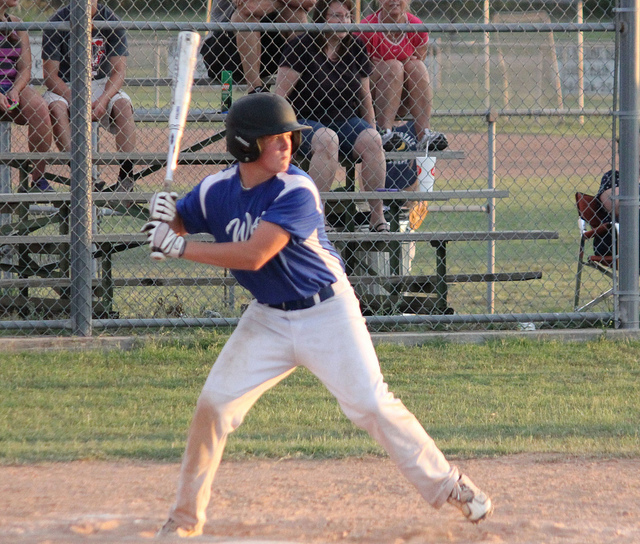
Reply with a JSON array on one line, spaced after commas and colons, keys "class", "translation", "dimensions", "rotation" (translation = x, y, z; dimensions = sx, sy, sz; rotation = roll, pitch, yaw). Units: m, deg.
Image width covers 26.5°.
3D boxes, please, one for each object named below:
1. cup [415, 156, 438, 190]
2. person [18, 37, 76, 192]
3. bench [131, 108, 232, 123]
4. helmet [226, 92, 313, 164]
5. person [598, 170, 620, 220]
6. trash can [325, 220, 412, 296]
[{"class": "cup", "translation": [0.866, -0.828, 11.246], "dimensions": [0.229, 0.338, 0.243], "rotation": [0, 1, 0]}, {"class": "person", "translation": [-2.173, -1.270, 10.875], "dimensions": [0.391, 1.223, 1.355], "rotation": [1, 1, -15]}, {"class": "bench", "translation": [-1.074, -1.228, 10.618], "dimensions": [0.829, 0.159, 0.061], "rotation": [0, -34, 17]}, {"class": "helmet", "translation": [-0.297, -0.807, 7.753], "dimensions": [0.452, 0.397, 0.461], "rotation": [0, 9, -29]}, {"class": "person", "translation": [2.292, -0.637, 10.918], "dimensions": [0.157, 0.386, 1.001], "rotation": [1, 1, 12]}, {"class": "trash can", "translation": [0.476, -0.113, 11.202], "dimensions": [0.420, 0.640, 1.070], "rotation": [2, 2, 40]}]
